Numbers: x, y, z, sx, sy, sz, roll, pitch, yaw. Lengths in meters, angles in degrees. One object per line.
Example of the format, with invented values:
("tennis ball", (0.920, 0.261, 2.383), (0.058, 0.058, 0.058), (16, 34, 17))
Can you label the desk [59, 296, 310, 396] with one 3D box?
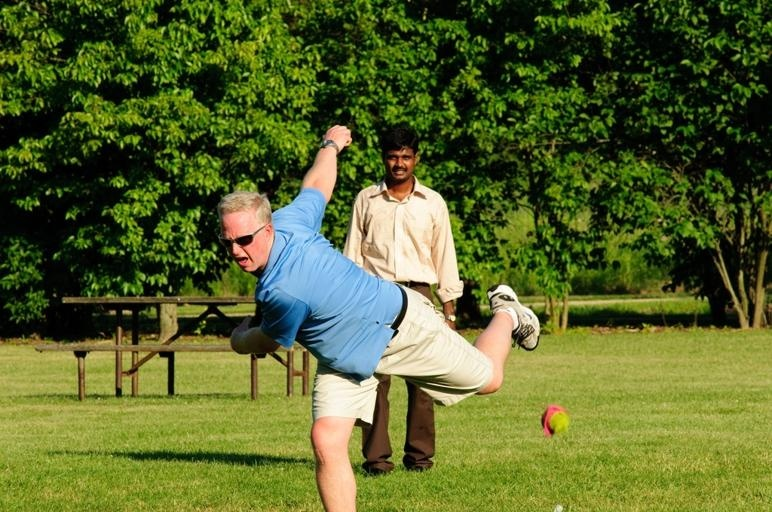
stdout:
("desk", (-3.612, 1.864, 31.752), (5.621, 2.363, 2.098), (0, 5, 30))

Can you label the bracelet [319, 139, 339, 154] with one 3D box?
("bracelet", (-0.931, -1.822, 26.733), (0.215, 0.234, 0.121), (-14, 5, 12))
